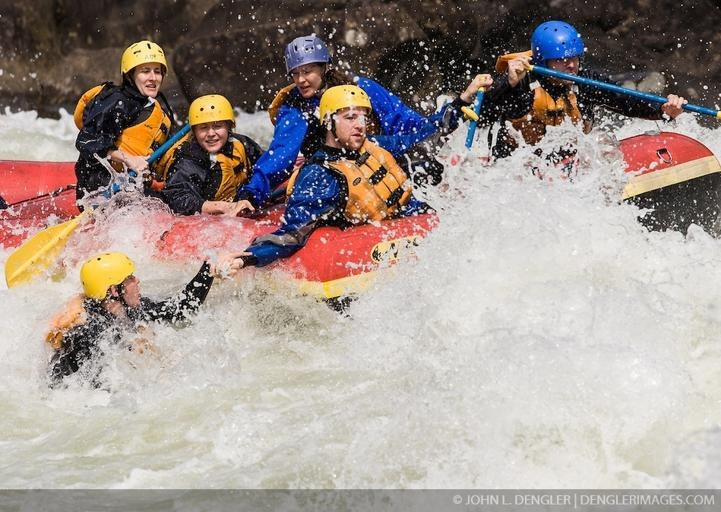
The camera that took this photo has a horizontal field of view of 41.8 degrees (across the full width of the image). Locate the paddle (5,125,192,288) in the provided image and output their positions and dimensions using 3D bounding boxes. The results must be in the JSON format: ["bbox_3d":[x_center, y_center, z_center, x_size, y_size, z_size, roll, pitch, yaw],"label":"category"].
[{"bbox_3d":[-2.202,-0.384,8.109,2.223,0.148,0.317,-41,102,-20],"label":"paddle"}]

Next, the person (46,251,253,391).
[{"bbox_3d":[-1.616,0.397,6.963,1.217,0.873,0.498,-25,103,-10],"label":"person"}]

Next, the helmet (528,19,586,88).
[{"bbox_3d":[1.678,-1.797,8.037,0.415,0.516,0.398,-40,138,-30],"label":"helmet"}]

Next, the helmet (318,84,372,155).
[{"bbox_3d":[-0.107,-1.096,7.525,0.415,0.438,0.539,-5,96,-35],"label":"helmet"}]

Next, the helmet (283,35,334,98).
[{"bbox_3d":[-0.467,-1.708,8.457,0.421,0.508,0.532,-10,100,-3],"label":"helmet"}]

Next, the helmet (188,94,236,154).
[{"bbox_3d":[-1.242,-1.148,8.320,0.336,0.413,0.395,-6,90,-7],"label":"helmet"}]

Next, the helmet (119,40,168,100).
[{"bbox_3d":[-1.923,-1.717,8.703,0.433,0.531,0.522,-1,88,-31],"label":"helmet"}]

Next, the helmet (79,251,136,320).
[{"bbox_3d":[-1.859,0.206,7.023,0.397,0.367,0.466,-18,108,-22],"label":"helmet"}]
